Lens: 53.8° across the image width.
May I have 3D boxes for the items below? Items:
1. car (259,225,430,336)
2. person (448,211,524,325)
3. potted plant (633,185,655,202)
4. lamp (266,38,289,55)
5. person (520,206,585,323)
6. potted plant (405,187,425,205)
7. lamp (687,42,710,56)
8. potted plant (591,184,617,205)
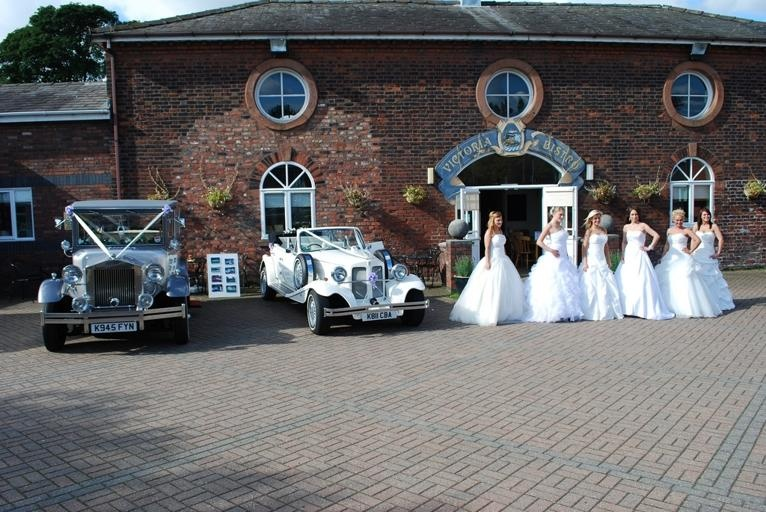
[{"bbox_3d":[-0.988,0.432,17.088,1.936,1.565,4.171,0,3,-26],"label":"car"},{"bbox_3d":[2.465,0.265,17.289,1.484,2.561,0.865,0,0,14],"label":"person"},{"bbox_3d":[8.029,-1.969,23.057,0.500,0.385,0.512,-5,9,-6],"label":"potted plant"},{"bbox_3d":[-3.034,-6.098,21.736,0.554,0.404,0.320,2,13,1],"label":"lamp"},{"bbox_3d":[3.928,0.190,17.344,1.295,2.618,0.590,0,0,12],"label":"person"},{"bbox_3d":[0.936,-1.823,22.358,0.506,0.372,0.523,8,9,23],"label":"potted plant"},{"bbox_3d":[9.691,-6.384,23.084,0.505,0.370,0.326,1,3,3],"label":"lamp"},{"bbox_3d":[6.734,-1.927,22.987,0.667,0.480,0.640,0,26,-5],"label":"potted plant"}]
